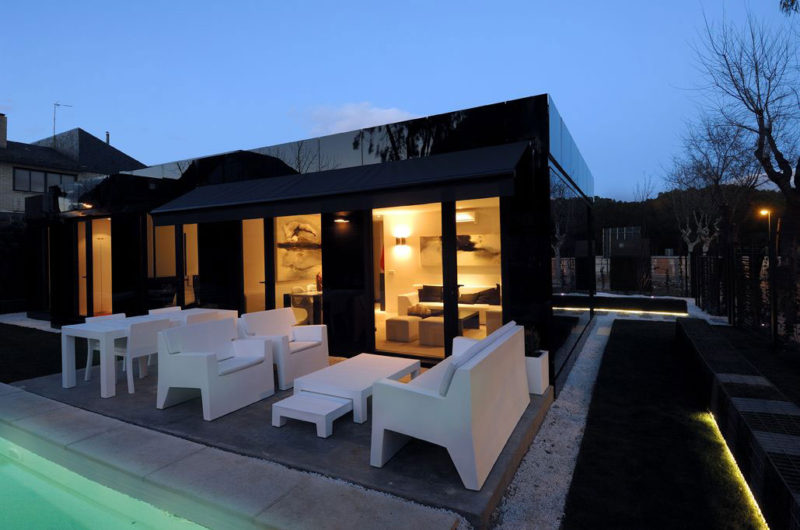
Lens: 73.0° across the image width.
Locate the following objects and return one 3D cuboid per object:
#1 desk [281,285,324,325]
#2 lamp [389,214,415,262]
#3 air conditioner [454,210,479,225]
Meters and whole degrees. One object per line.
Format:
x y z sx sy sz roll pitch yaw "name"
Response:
-3.276 1.295 18.821 0.904 0.827 0.954 13 26 38 "desk"
0.031 -0.869 20.851 1.008 1.436 0.378 -3 -20 0 "lamp"
2.377 -1.679 19.169 0.679 0.443 0.631 -2 3 9 "air conditioner"
